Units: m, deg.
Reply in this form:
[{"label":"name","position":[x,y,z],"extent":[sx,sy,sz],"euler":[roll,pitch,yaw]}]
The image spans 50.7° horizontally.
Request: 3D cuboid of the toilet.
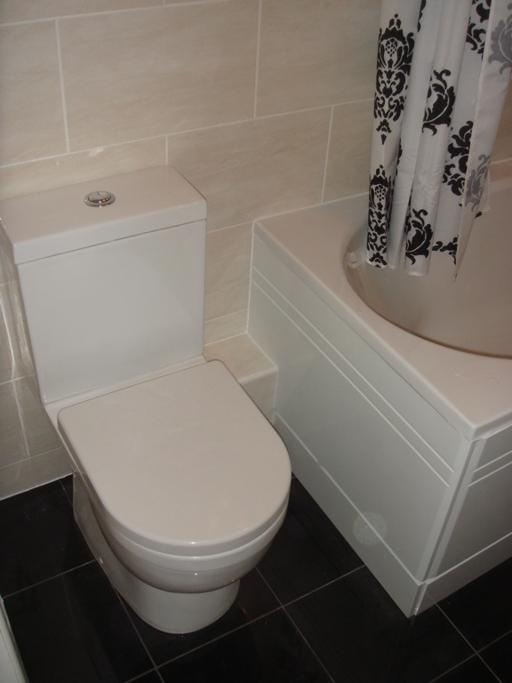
[{"label":"toilet","position":[-0.226,0.120,1.082],"extent":[0.359,0.837,0.743],"euler":[-18,47,-24]}]
